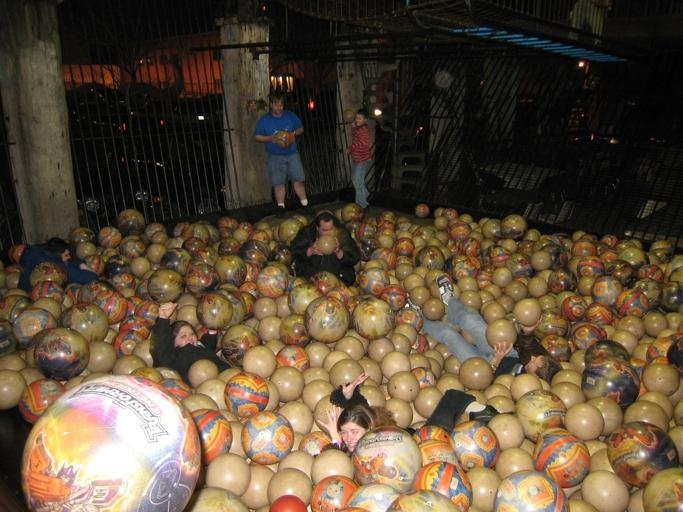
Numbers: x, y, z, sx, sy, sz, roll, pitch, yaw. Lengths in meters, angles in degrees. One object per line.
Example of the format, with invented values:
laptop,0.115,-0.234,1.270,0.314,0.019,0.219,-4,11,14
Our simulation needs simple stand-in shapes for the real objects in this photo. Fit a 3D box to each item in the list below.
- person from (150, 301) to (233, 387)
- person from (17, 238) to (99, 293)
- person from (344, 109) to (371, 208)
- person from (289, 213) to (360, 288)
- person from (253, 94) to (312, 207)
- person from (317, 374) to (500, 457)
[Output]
person,-1.567,0.935,5.032,0.547,0.528,1.291,-6,21,-42
person,-3.870,0.124,6.474,0.909,0.465,0.846,-13,33,-23
person,0.373,-1.946,9.829,0.420,2.079,0.489,3,28,4
person,-0.228,-0.103,6.940,1.086,1.485,0.929,-1,60,-5
person,-1.117,-1.799,8.808,0.926,2.208,0.643,-7,29,-13
person,0.530,1.326,4.227,1.455,0.590,0.853,-6,31,-12
